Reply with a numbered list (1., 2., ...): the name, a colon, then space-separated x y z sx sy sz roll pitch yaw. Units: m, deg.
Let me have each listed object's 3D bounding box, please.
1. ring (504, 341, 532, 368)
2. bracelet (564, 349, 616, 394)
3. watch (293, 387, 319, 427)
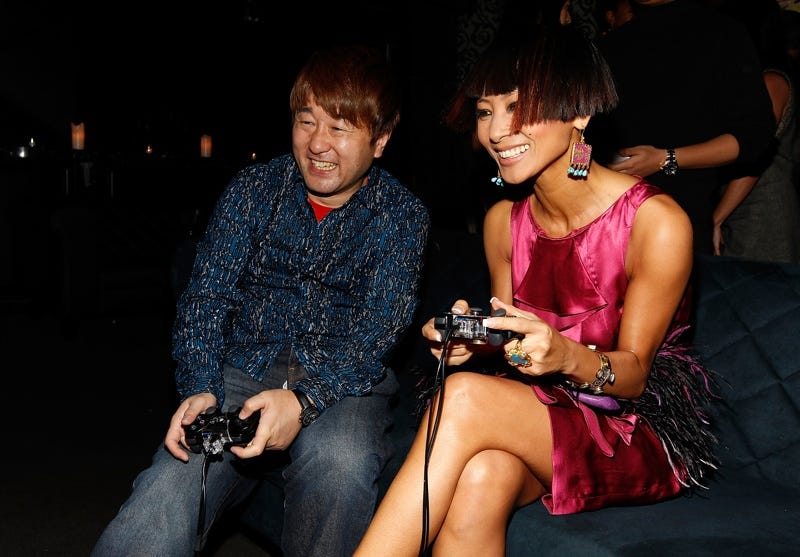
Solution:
1. ring: 0.340 0.221 1.807 0.082 0.087 0.034 11 13 37
2. bracelet: 0.591 0.310 1.929 0.127 0.116 0.052 -21 -16 36
3. watch: -0.311 0.430 2.045 0.061 0.096 0.098 -14 -23 -50
